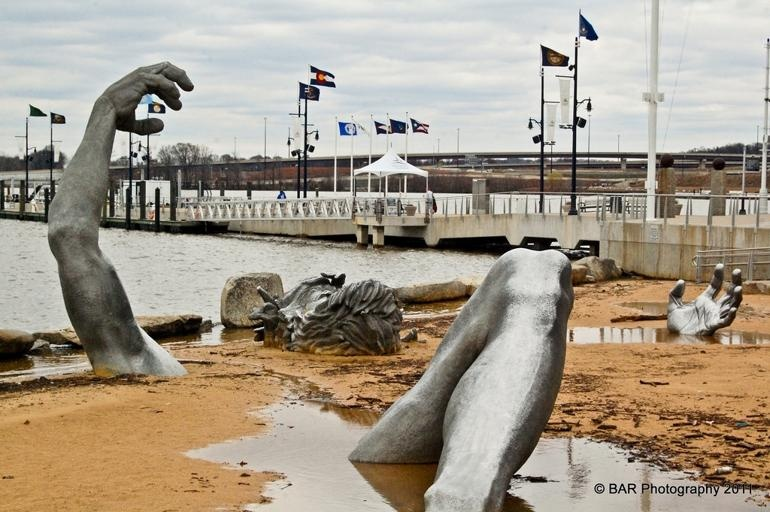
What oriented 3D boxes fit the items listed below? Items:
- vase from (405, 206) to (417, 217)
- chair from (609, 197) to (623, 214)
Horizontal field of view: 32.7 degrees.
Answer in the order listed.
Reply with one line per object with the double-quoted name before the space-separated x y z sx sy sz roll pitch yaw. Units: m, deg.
"vase" 1.072 -1.973 56.638 0.523 0.370 0.425 0 1 4
"chair" 7.396 -1.651 41.808 0.619 0.602 1.118 -1 2 9
